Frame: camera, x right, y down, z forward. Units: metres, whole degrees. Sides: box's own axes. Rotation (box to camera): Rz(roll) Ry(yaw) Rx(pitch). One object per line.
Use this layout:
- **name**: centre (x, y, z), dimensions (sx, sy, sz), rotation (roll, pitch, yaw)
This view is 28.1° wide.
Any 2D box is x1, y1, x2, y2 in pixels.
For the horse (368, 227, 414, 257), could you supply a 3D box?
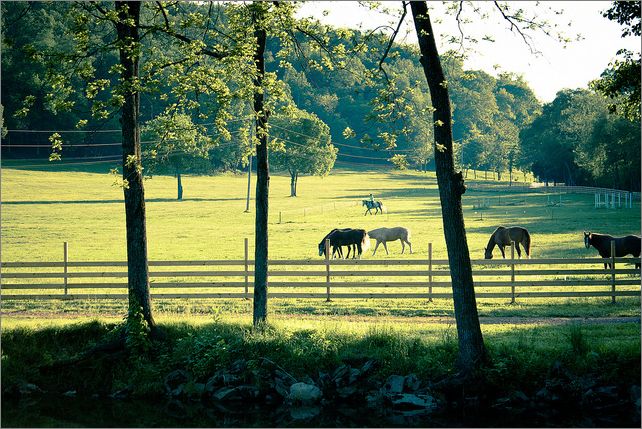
- **horse**: centre (7.022, 2.448, 147.092), dimensions (7.949, 4.335, 2.035), rotation (1, -9, 0)

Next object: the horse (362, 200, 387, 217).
- **horse**: centre (7.121, -0.900, 168.675), dimensions (2.968, 1.972, 4.392), rotation (-3, -3, 2)

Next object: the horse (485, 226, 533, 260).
- **horse**: centre (20.948, 3.238, 143.771), dimensions (1.993, 3.965, 6.774), rotation (5, -11, -42)
